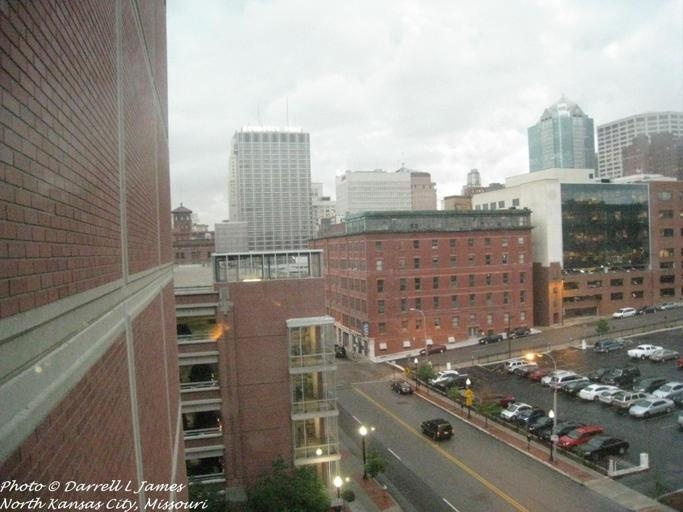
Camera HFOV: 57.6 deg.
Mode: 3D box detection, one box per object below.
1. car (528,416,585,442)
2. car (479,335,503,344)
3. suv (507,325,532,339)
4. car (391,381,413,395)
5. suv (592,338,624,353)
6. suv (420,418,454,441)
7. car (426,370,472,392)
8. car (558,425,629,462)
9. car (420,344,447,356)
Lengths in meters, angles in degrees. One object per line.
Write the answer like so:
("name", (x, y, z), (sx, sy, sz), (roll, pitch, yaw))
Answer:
("car", (13.080, 10.422, 37.200), (2.776, 1.057, 1.280), (2, -4, -25))
("car", (16.193, 9.032, 66.681), (2.203, 0.695, 1.018), (0, -4, -17))
("suv", (19.597, 8.461, 68.435), (2.892, 1.074, 1.415), (2, -8, -23))
("car", (5.035, 10.570, 49.791), (1.027, 0.797, 1.985), (-5, 2, -29))
("suv", (25.603, 8.548, 59.171), (2.452, 0.840, 1.205), (-7, 5, -14))
("suv", (5.932, 10.521, 37.751), (1.128, 0.970, 1.834), (-5, 2, -20))
("car", (8.844, 10.183, 50.342), (2.931, 1.056, 3.454), (-4, 2, 3))
("car", (13.808, 10.282, 33.893), (3.021, 0.911, 3.267), (-5, 2, -15))
("car", (9.646, 9.603, 63.365), (2.674, 0.816, 1.234), (0, -3, -20))
